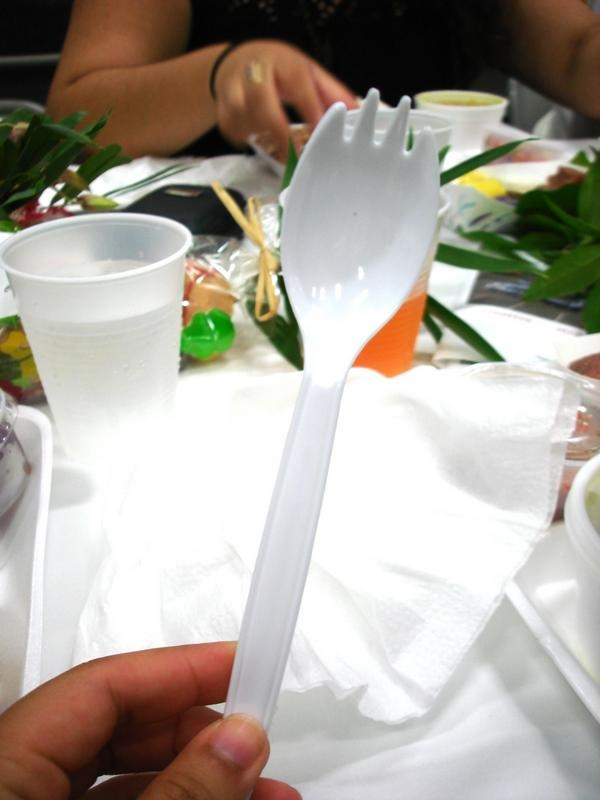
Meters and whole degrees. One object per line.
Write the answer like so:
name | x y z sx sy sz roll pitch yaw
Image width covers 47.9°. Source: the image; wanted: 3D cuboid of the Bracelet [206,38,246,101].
Bracelet | -0.115 -0.556 1.115 0.026 0.028 0.175 4 65 20

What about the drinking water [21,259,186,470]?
drinking water | -0.095 -0.036 0.465 0.116 0.125 0.121 2 33 0
